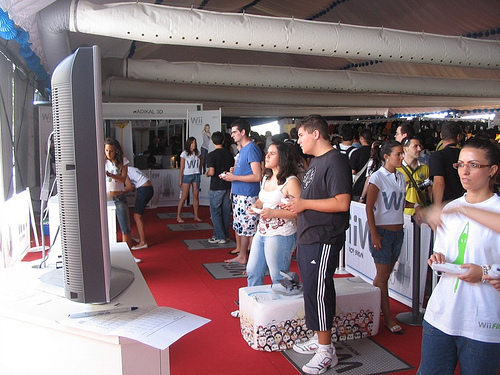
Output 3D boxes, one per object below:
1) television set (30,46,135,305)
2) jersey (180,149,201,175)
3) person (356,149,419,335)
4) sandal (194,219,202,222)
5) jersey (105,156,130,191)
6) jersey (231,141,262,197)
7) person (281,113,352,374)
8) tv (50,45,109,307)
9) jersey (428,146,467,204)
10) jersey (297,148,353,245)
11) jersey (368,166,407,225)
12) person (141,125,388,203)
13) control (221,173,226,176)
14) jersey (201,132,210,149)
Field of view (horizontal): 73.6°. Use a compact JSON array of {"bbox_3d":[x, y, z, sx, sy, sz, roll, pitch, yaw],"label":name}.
[{"bbox_3d":[-0.681,-0.034,1.349,0.218,1.021,0.172,-2,6,-13],"label":"television set"},{"bbox_3d":[-1.320,-0.671,7.958,0.399,0.429,0.238,8,24,-21],"label":"jersey"},{"bbox_3d":[1.495,0.450,3.648,0.657,1.725,1.561,1,7,18],"label":"person"},{"bbox_3d":[-1.231,0.799,7.990,0.137,0.028,0.202,-3,7,-20],"label":"sandal"},{"bbox_3d":[-1.859,-0.192,4.665,0.481,0.497,0.276,-1,-3,39],"label":"jersey"},{"bbox_3d":[-0.067,-0.306,4.998,0.402,0.774,0.734,-1,8,-10],"label":"jersey"},{"bbox_3d":[0.517,0.431,2.577,0.487,1.969,0.359,1,6,12],"label":"person"},{"bbox_3d":[-0.686,-0.026,1.330,0.248,1.045,0.092,2,7,23],"label":"tv"},{"bbox_3d":[2.288,-0.163,3.937,0.518,0.691,0.221,-13,8,-30],"label":"jersey"},{"bbox_3d":[0.557,0.073,2.530,0.398,0.715,0.262,1,6,12],"label":"jersey"},{"bbox_3d":[1.344,0.070,3.272,0.489,0.541,0.276,0,8,-20],"label":"jersey"},{"bbox_3d":[-0.063,-0.364,5.548,2.464,1.458,0.362,0,0,-6],"label":"person"},{"bbox_3d":[-0.379,-0.177,4.743,0.052,0.057,0.033,3,14,5],"label":"control"},{"bbox_3d":[-1.210,-1.287,9.162,0.271,0.534,0.391,-2,7,-19],"label":"jersey"}]
